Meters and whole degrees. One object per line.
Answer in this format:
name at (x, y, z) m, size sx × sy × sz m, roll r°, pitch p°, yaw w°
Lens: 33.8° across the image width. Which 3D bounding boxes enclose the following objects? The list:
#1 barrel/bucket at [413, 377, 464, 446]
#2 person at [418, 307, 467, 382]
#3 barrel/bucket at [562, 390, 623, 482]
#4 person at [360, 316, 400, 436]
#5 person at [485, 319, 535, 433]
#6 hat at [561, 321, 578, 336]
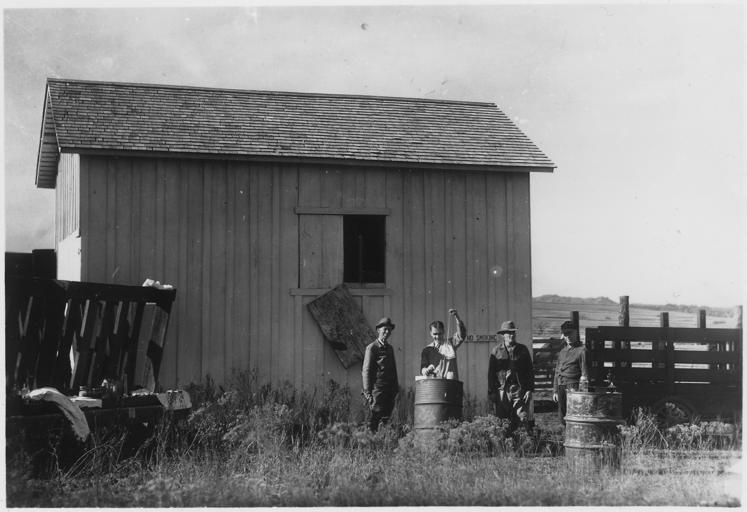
barrel/bucket at (1.054, 2.877, 21.921) m, size 0.764 × 1.297 × 0.792 m, roll 1°, pitch -12°, yaw 0°
person at (1.230, 1.858, 22.758) m, size 0.819 × 1.840 × 0.411 m, roll -3°, pitch 21°, yaw 0°
barrel/bucket at (3.762, 2.959, 21.256) m, size 0.931 × 1.526 × 0.962 m, roll 0°, pitch 10°, yaw 0°
person at (0.111, 2.130, 22.113) m, size 0.640 × 1.996 × 0.265 m, roll 2°, pitch -5°, yaw -14°
person at (2.501, 2.185, 22.552) m, size 0.769 × 1.923 × 0.289 m, roll 0°, pitch -5°, yaw 8°
hat at (3.546, 1.321, 22.406) m, size 0.196 × 0.144 × 0.295 m, roll 3°, pitch 8°, yaw 16°
